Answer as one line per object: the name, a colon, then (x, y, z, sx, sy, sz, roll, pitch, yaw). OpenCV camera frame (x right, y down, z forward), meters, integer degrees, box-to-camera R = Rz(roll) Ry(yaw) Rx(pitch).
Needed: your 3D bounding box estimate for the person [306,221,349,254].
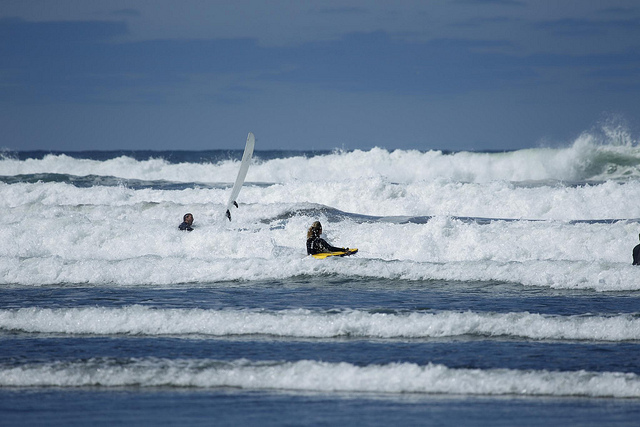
person: (0.231, 0.658, 43.517, 1.315, 1.089, 0.812, -2, -9, 1)

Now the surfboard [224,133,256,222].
surfboard: (-2.843, -1.107, 52.677, 0.473, 3.769, 0.474, 12, -11, 20)

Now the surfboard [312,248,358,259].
surfboard: (0.349, 1.070, 43.177, 1.488, 0.181, 0.382, -6, 33, 0)
